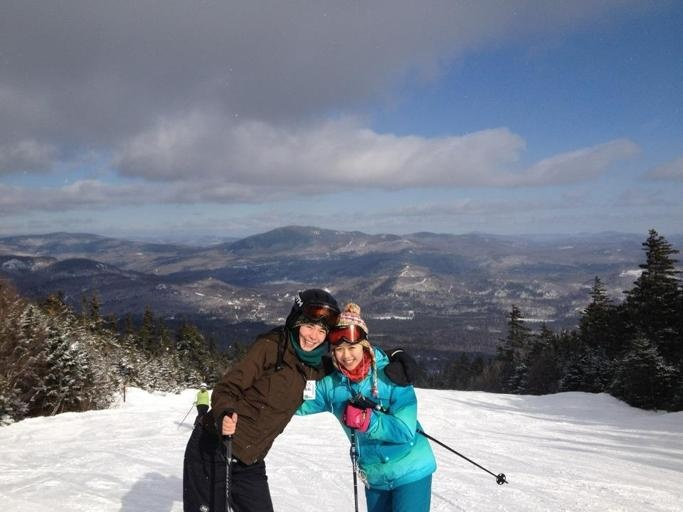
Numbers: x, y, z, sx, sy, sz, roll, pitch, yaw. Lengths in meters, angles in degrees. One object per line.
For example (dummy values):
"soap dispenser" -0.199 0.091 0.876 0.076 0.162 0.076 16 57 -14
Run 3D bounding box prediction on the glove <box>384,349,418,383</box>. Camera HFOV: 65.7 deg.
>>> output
"glove" 1.594 2.931 13.868 0.710 0.947 0.342 -21 -22 -24

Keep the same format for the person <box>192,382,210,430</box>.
"person" -6.740 7.291 25.679 0.764 2.083 0.690 1 -37 -8

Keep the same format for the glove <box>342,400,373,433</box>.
"glove" 0.418 4.171 13.583 0.732 0.570 0.291 -3 19 39
